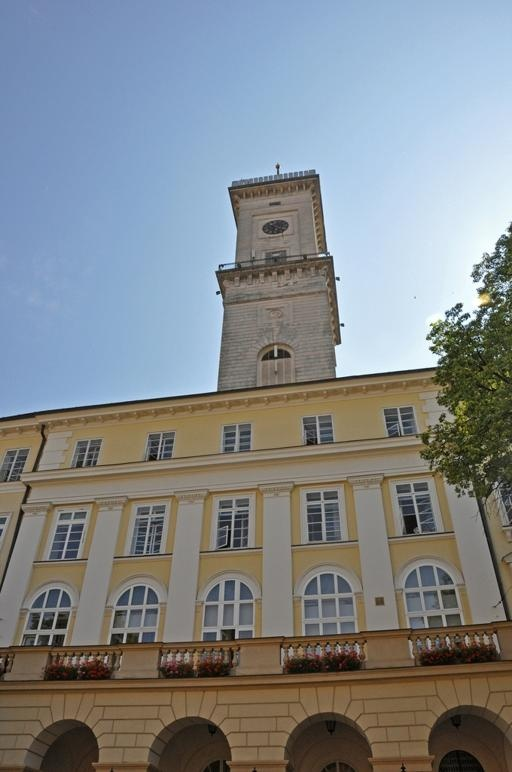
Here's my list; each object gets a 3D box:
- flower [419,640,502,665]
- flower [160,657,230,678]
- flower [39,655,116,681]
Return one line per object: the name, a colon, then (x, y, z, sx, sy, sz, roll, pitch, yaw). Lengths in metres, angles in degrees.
flower: (5.288, 7.000, 14.847, 1.265, 0.396, 0.854, -6, -17, 7)
flower: (-1.666, 7.994, 16.156, 1.638, 0.505, 0.373, -4, -87, 12)
flower: (-5.277, 8.420, 16.961, 1.272, 0.393, 0.956, 5, -39, -6)
